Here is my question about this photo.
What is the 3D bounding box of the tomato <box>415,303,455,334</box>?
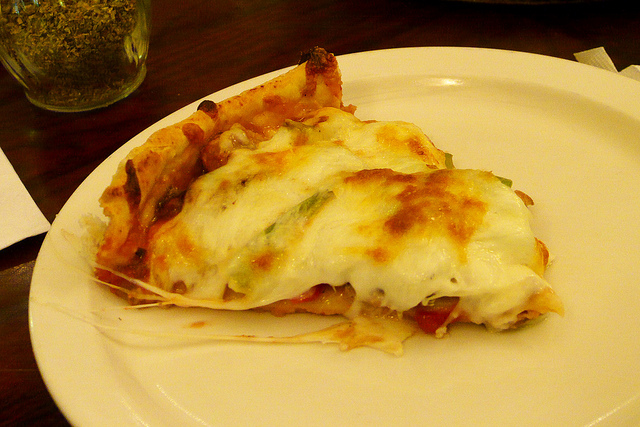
[{"bbox_3d":[0.391,0.367,2.168,0.120,0.055,0.096,5,79,4],"label":"tomato"}]
